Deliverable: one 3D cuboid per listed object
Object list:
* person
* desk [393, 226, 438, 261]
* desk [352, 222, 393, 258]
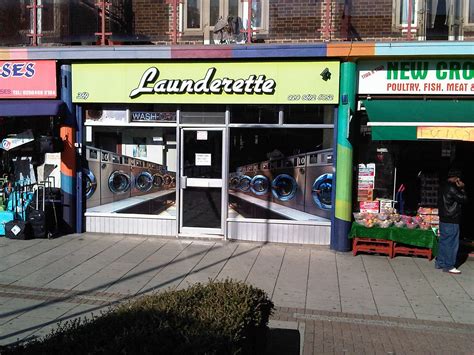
[{"bbox_3d":[4.546,0.906,10.109,0.545,2.125,0.624,5,10,26],"label":"person"},{"bbox_3d":[4.155,1.524,11.056,1.244,0.659,1.409,5,-4,11],"label":"desk"},{"bbox_3d":[3.134,1.463,10.914,0.656,0.562,0.625,2,6,6],"label":"desk"}]
